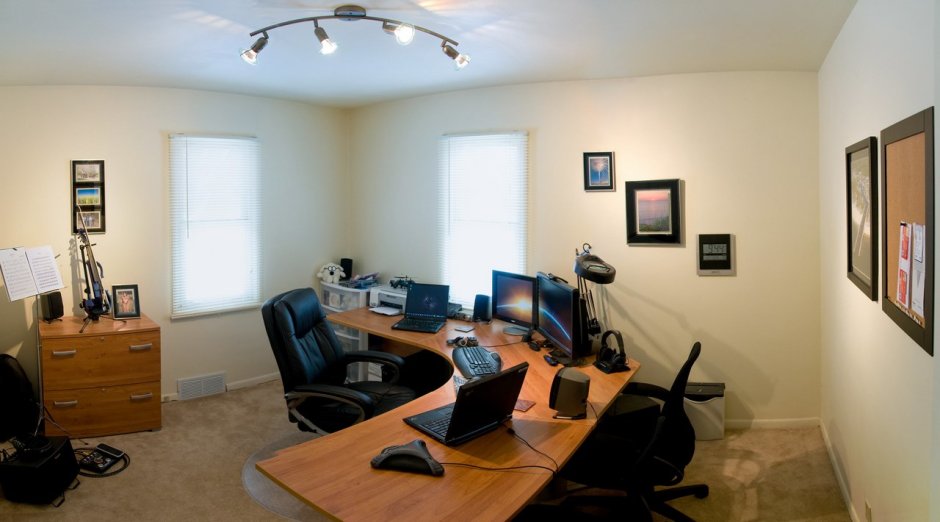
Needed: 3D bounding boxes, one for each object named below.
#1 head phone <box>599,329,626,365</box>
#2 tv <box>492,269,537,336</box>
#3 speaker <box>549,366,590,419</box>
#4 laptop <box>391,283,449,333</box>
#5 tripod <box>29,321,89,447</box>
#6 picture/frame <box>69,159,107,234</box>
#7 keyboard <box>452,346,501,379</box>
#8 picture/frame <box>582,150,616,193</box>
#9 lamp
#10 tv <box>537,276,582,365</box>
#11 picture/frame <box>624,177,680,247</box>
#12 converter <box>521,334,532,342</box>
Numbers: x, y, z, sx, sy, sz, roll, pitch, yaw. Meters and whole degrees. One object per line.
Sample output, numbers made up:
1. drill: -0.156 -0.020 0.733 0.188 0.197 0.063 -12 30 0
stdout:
1. head phone: 1.433 0.888 5.992 0.151 0.303 0.318 -5 5 -26
2. tv: 0.479 0.472 6.422 0.753 0.664 0.273 -1 0 43
3. speaker: 0.853 1.136 5.254 0.421 0.447 0.376 1 3 25
4. laptop: -0.560 0.547 6.740 0.611 0.395 0.529 5 10 24
5. tripod: -4.400 1.259 6.408 0.529 1.243 0.548 -9 9 -35
6. picture/frame: -4.294 -0.708 6.660 0.393 0.821 0.047 -6 8 -17
7. keyboard: 0.081 0.991 5.803 0.465 0.117 0.560 -1 25 -18
8. picture/frame: 1.425 -0.979 6.484 0.516 0.574 0.067 2 9 11
9. lamp: -1.062 -1.961 5.431 2.064 0.388 0.675 -3 7 -3
10. tv: 0.879 0.620 5.874 0.271 0.697 0.739 -4 17 -17
11. picture/frame: 1.980 -0.533 6.364 0.830 0.905 0.066 1 4 17
12. converter: 0.594 0.816 6.205 0.098 0.081 0.062 4 10 -36
